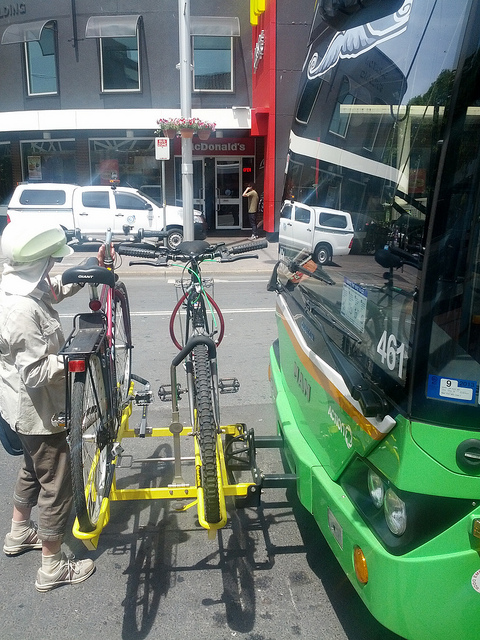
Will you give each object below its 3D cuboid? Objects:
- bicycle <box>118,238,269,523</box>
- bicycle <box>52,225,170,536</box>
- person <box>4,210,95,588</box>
[{"bbox_3d":[-0.241,0.090,3.010,0.625,1.156,1.875,-2,6,-1],"label":"bicycle"},{"bbox_3d":[-0.705,0.206,2.730,0.648,1.137,1.607,1,19,-7],"label":"bicycle"},{"bbox_3d":[-1.049,0.438,2.474,0.473,1.929,0.855,-3,8,-20],"label":"person"}]
